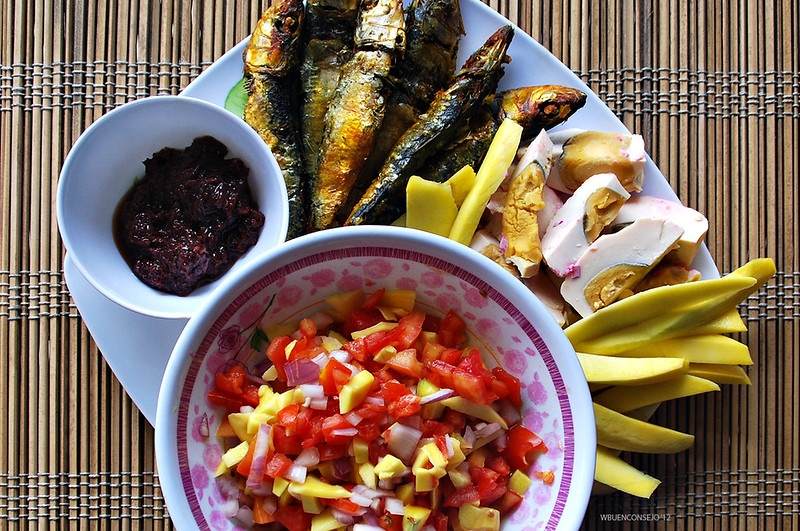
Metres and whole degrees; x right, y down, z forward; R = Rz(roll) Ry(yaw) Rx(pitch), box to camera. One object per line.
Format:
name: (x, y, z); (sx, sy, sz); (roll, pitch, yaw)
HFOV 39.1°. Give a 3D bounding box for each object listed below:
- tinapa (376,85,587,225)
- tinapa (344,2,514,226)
tinapa: (0.297, -0.423, 4.359); (0.633, 0.112, 0.235); (-38, 67, -4)
tinapa: (0.096, -0.571, 4.362); (0.226, 0.173, 0.975); (39, 87, -7)
